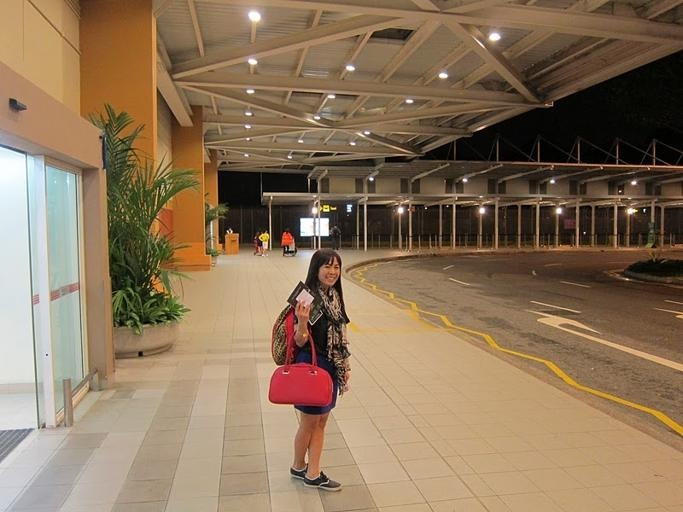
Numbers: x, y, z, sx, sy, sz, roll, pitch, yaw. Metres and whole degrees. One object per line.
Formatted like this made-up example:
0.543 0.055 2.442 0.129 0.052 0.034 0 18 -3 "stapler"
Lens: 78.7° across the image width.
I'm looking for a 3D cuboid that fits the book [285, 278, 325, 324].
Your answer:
-0.279 0.329 3.220 0.348 0.318 0.094 41 44 22 "book"
